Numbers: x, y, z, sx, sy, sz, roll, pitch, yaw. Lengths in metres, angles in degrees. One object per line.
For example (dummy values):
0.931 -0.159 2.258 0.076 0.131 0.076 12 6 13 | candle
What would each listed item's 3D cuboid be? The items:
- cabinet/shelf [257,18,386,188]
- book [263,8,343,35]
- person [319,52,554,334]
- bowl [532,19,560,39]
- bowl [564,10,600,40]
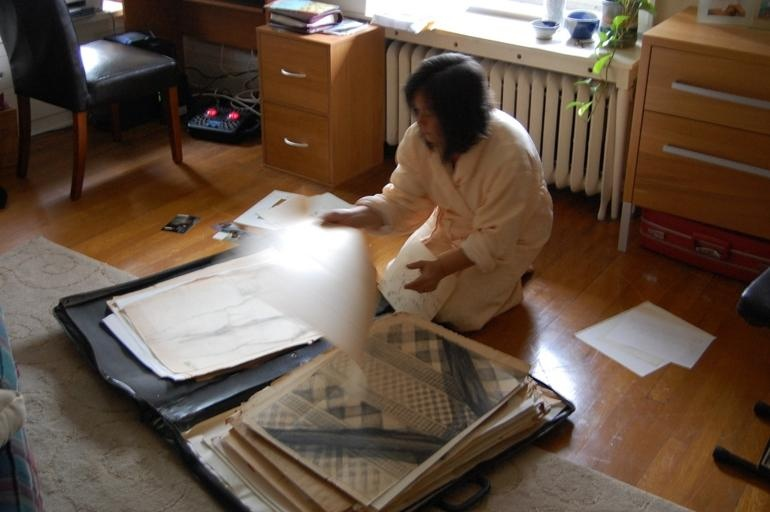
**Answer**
-0.340 -0.861 3.267 0.546 0.746 0.502 18 32 32 | cabinet/shelf
-0.403 -1.175 2.993 0.361 0.086 0.148 -1 39 -6 | book
0.223 -0.197 2.225 0.808 1.002 0.711 -6 30 -1 | person
0.755 -1.069 2.812 0.113 0.063 0.147 22 42 21 | bowl
0.914 -1.061 2.757 0.144 0.092 0.150 -2 42 2 | bowl
